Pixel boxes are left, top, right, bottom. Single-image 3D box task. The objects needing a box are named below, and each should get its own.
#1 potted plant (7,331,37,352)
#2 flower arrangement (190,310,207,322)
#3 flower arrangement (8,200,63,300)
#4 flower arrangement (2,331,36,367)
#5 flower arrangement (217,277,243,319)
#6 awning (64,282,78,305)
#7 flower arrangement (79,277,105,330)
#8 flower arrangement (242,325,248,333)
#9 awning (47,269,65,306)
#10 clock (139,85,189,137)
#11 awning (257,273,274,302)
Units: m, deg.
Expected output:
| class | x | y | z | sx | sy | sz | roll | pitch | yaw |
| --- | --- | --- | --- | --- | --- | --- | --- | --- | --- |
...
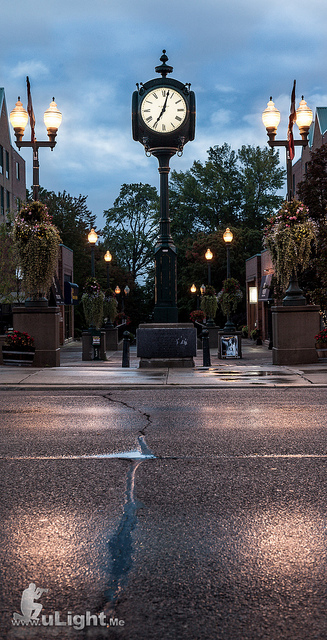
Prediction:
| class | x | y | z | sx | sy | sz | roll | pitch | yaw |
| --- | --- | --- | --- | --- | --- | --- | --- | --- | --- |
| potted plant | -3.759 | 0.548 | 16.936 | 0.498 | 0.503 | 0.546 | 3 | -5 | 0 |
| flower arrangement | 2.159 | -0.292 | 42.518 | 0.691 | 0.700 | 0.756 | 1 | 2 | 21 |
| flower arrangement | -3.499 | -1.973 | 17.555 | 1.121 | 2.803 | 1.048 | -1 | -1 | 43 |
| flower arrangement | -3.872 | 0.805 | 17.040 | 0.737 | 1.069 | 0.963 | 0 | 2 | -11 |
| flower arrangement | 2.971 | -1.065 | 28.331 | 1.327 | 2.398 | 1.388 | 0 | 2 | 12 |
| awning | -6.350 | -1.798 | 43.427 | 0.449 | 1.081 | 1.534 | -1 | 1 | 4 |
| flower arrangement | -2.769 | -0.663 | 25.568 | 0.877 | 1.968 | 0.927 | -9 | 21 | -11 |
| flower arrangement | 6.166 | 0.663 | 48.228 | 0.377 | 0.389 | 0.416 | 0 | 1 | 20 |
| awning | -5.378 | -1.590 | 32.001 | 0.698 | 1.901 | 2.430 | -2 | 0 | 2 |
| clock | 0.002 | -5.697 | 17.336 | 1.322 | 1.247 | 0.364 | 0 | 0 | -1 |
| awning | 5.617 | -1.775 | 35.089 | 0.617 | 1.844 | 1.737 | 1 | -2 | -4 |
